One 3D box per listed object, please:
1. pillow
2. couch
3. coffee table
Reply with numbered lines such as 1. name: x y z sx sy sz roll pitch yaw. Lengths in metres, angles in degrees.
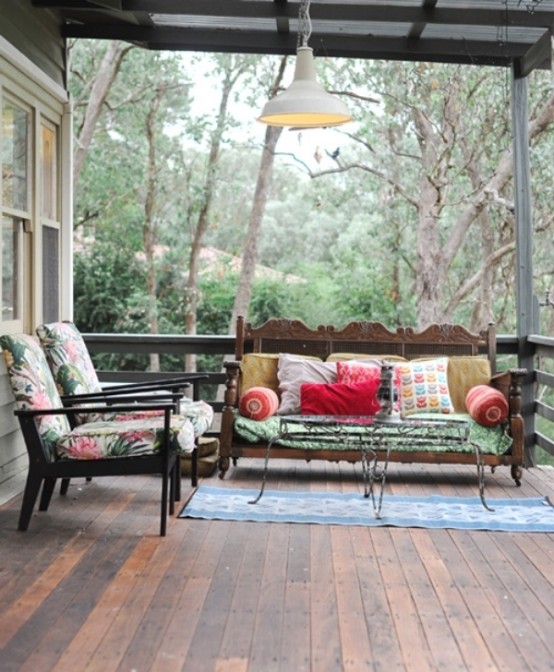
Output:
1. pillow: 0.634 0.296 3.555 1.108 0.586 0.659 1 0 -6
2. couch: 0.726 0.409 3.911 2.458 1.049 1.177 3 4 6
3. coffee table: 0.582 0.752 3.097 1.553 0.516 0.760 -1 -12 6
